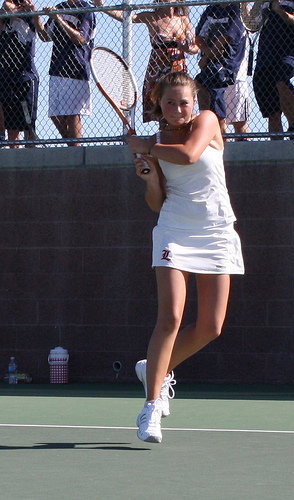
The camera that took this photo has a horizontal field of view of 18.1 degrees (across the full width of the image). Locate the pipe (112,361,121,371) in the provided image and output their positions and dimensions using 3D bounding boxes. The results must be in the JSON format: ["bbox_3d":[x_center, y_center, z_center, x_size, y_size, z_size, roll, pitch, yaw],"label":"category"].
[{"bbox_3d":[-0.234,0.891,7.148,0.067,0.064,0.009,-1,0,17],"label":"pipe"}]

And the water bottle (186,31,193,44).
[{"bbox_3d":[0.332,-1.621,7.143,0.053,0.091,0.029,-1,0,3],"label":"water bottle"}]

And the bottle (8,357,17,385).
[{"bbox_3d":[-1.062,0.943,7.283,0.067,0.181,0.129,-1,0,-9],"label":"bottle"}]

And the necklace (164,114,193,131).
[{"bbox_3d":[0.156,-0.606,4.442,0.099,0.005,0.073,-26,-14,17],"label":"necklace"}]

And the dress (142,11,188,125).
[{"bbox_3d":[0.135,-1.406,7.068,0.361,1.165,0.302,4,17,12],"label":"dress"}]

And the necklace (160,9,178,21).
[{"bbox_3d":[0.171,-1.802,7.169,0.095,0.025,0.093,40,8,20],"label":"necklace"}]
